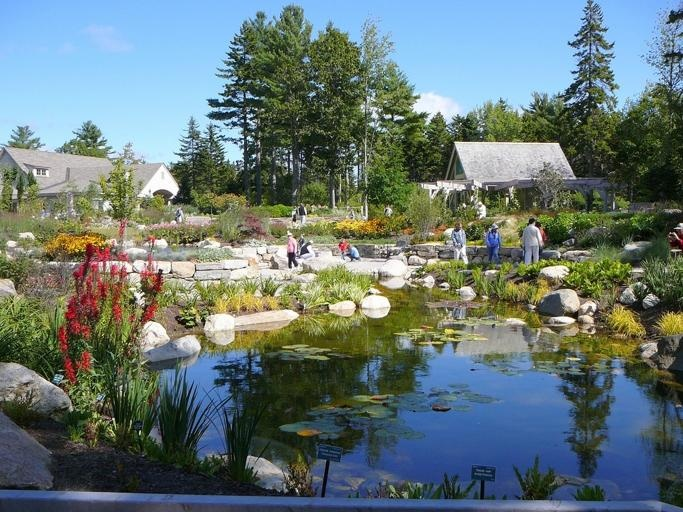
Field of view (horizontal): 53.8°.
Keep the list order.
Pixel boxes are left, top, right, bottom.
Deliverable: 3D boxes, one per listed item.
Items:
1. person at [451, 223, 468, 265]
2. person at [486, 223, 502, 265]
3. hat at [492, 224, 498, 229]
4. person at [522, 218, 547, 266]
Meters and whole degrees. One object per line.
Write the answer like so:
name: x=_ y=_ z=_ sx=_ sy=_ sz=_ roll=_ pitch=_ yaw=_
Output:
person: x=4.200 y=-0.519 z=23.968 sx=0.532 sy=1.554 sz=2.464 roll=3 pitch=11 yaw=9
person: x=5.015 y=-0.410 z=22.267 sx=0.464 sy=1.420 sz=1.806 roll=4 pitch=10 yaw=13
hat: x=4.945 y=-0.968 z=21.687 sx=0.247 sy=0.111 sz=0.264 roll=2 pitch=2 yaw=26
person: x=5.614 y=-0.445 z=19.773 sx=0.545 sy=1.382 sz=1.664 roll=4 pitch=11 yaw=15
